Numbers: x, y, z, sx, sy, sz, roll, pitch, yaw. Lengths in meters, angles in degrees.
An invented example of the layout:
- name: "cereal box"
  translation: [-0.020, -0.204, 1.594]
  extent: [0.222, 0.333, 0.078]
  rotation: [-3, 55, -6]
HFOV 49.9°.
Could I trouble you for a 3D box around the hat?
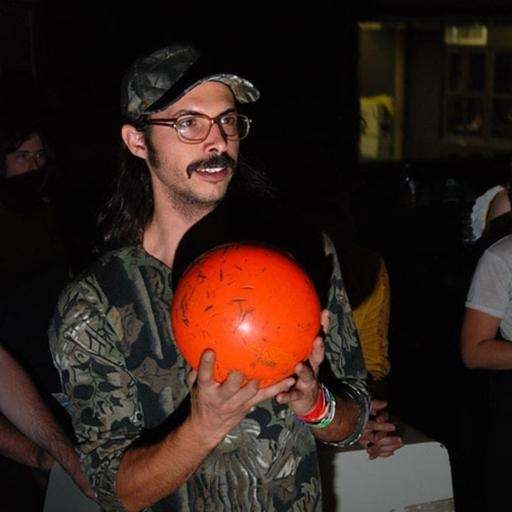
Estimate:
- name: "hat"
  translation: [-0.276, -0.642, 2.115]
  extent: [0.406, 0.216, 0.270]
  rotation: [-22, 13, 15]
